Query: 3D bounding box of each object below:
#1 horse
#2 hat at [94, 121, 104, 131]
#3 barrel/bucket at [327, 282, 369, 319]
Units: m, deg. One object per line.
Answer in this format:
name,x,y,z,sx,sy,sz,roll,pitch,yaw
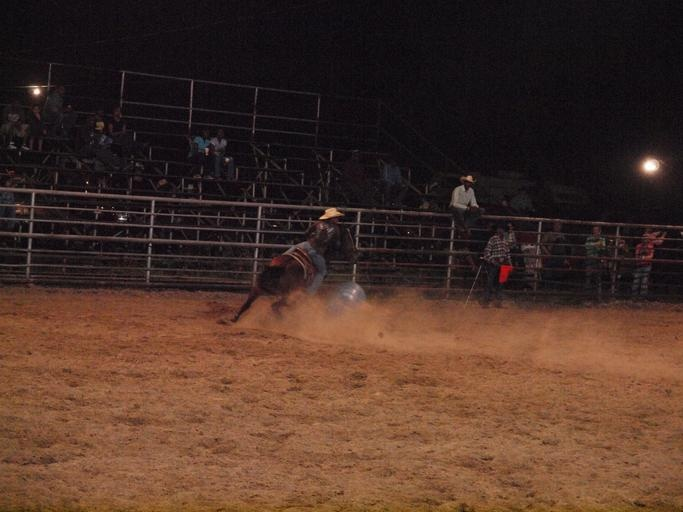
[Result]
horse,-0.697,0.149,12.091,1.809,1.660,0.558,4,2,-40
hat,-6.016,-3.244,18.600,0.204,0.210,0.239,1,6,-1
barrel/bucket,0.048,0.729,12.556,0.566,0.504,0.870,-34,-5,16
